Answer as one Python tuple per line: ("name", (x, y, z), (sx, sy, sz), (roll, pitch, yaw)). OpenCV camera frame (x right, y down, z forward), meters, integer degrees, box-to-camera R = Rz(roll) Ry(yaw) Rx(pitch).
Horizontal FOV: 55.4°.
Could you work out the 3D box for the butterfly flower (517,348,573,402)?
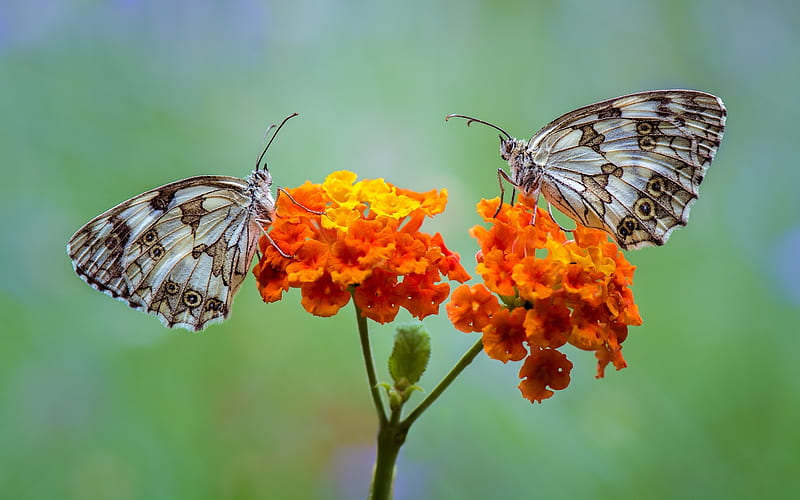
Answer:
("butterfly flower", (0.501, 0.410, 2.662), (0.175, 0.184, 0.084), (0, 6, -1))
